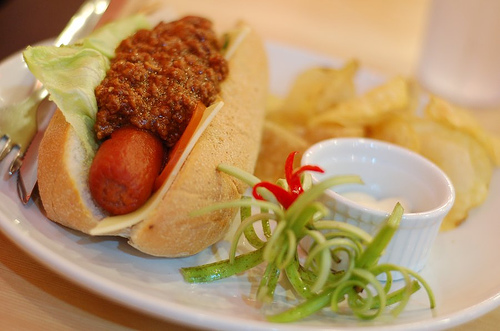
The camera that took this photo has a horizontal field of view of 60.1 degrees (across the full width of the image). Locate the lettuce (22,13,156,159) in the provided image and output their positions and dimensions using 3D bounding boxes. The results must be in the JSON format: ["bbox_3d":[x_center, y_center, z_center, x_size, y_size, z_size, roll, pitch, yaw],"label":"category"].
[{"bbox_3d":[-0.475,-0.235,1.372,0.302,0.463,0.358,-17,29,-37],"label":"lettuce"}]

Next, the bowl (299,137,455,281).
[{"bbox_3d":[0.348,0.093,1.230,0.435,0.255,0.444,0,73,0],"label":"bowl"}]

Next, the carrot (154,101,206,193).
[{"bbox_3d":[-0.172,-0.061,1.233,0.078,0.049,0.284,5,67,44],"label":"carrot"}]
